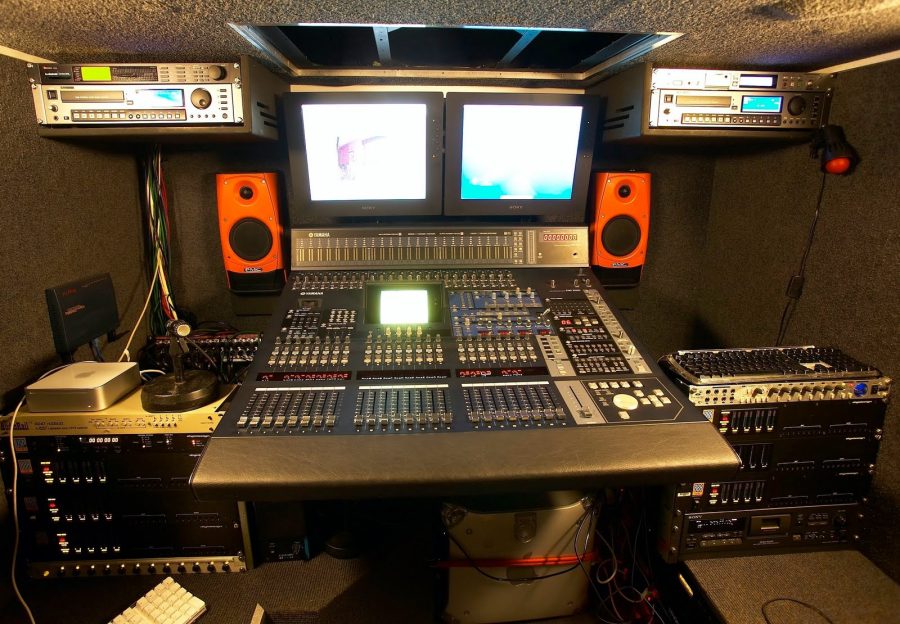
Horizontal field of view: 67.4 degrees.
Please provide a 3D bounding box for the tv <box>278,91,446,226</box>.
[{"bbox_3d":[-0.400,-0.749,3.216,0.862,0.515,0.128,-1,20,-2],"label":"tv"}]

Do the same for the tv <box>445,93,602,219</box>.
[{"bbox_3d":[0.357,-0.767,3.324,0.896,0.581,0.106,15,20,43],"label":"tv"}]

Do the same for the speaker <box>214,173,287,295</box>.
[{"bbox_3d":[-0.972,-0.392,3.320,0.331,0.498,0.374,0,-19,-13],"label":"speaker"}]
